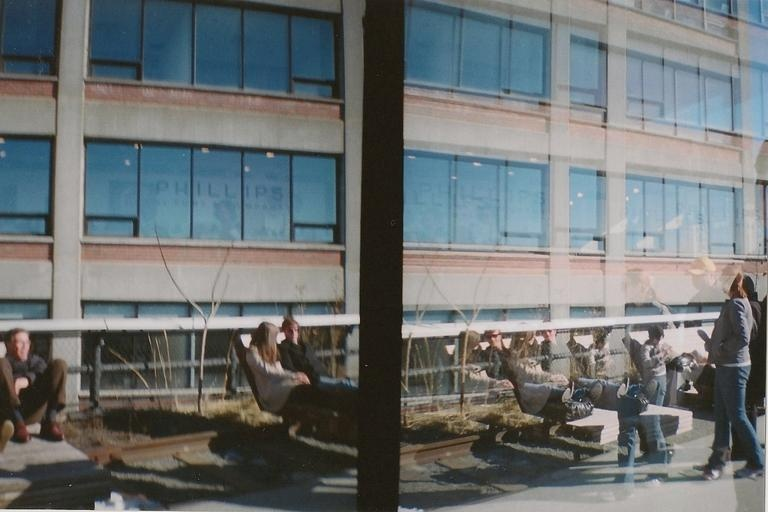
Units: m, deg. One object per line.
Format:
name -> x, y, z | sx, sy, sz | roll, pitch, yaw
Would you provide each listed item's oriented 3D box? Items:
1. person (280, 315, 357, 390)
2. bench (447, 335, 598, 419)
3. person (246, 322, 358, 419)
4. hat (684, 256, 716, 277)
person -> -0.786, 1.107, 8.992 | 0.964, 0.713, 0.446 | 16, 19, 15
bench -> 1.752, 1.605, 9.567 | 1.364, 0.513, 1.113 | 11, 6, 24
person -> -0.746, 1.501, 9.188 | 1.667, 1.165, 0.671 | 5, -12, 1
hat -> 4.004, 0.131, 9.593 | 0.311, 0.155, 0.206 | 1, -4, -39
